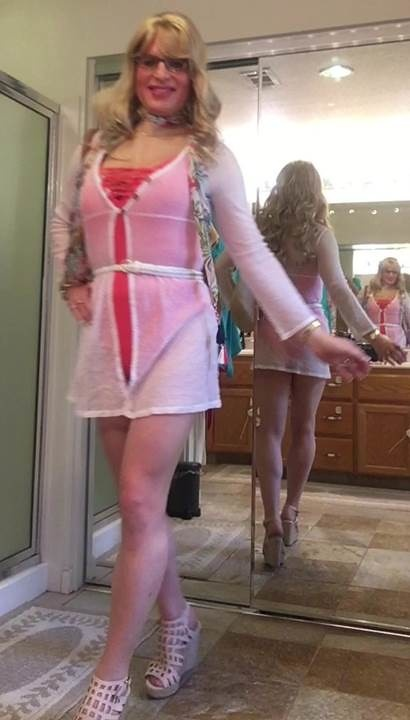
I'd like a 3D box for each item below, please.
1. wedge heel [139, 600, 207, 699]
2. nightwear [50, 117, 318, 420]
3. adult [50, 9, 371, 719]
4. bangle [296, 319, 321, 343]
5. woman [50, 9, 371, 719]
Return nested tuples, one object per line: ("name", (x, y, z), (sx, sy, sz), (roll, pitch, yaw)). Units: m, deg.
("wedge heel", (-0.070, 0.663, 1.286), (0.067, 0.146, 0.203), (3, 7, 28))
("nightwear", (-0.035, -0.179, 1.141), (0.306, 0.505, 0.512), (1, 9, 3))
("adult", (-0.017, 0.024, 1.161), (0.436, 1.506, 0.537), (2, 6, 6))
("bangle", (0.188, -0.054, 1.020), (0.043, 0.017, 0.037), (-41, 4, 12))
("woman", (-0.033, -0.131, 1.148), (0.600, 1.839, 0.393), (1, -1, -37))
